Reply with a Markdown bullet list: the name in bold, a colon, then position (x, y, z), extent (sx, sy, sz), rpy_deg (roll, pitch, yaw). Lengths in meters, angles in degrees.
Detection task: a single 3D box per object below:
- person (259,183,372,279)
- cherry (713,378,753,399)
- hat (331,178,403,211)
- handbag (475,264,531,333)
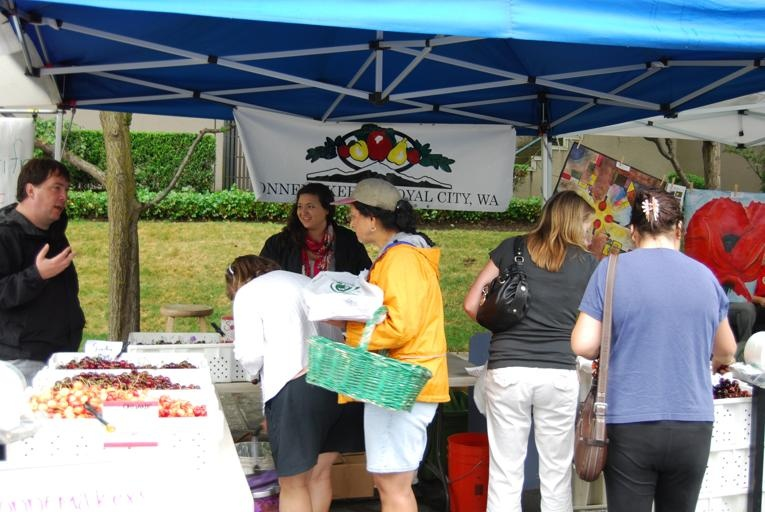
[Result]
- **person**: position (-0.540, -0.204, 6.828), extent (1.021, 0.897, 0.332), rpy_deg (-2, 11, -4)
- **cherry**: position (2.312, 0.883, 5.497), extent (0.162, 0.058, 0.166), rpy_deg (0, 4, 16)
- **hat**: position (-0.041, -0.385, 5.364), extent (0.326, 0.186, 0.231), rpy_deg (0, 4, -1)
- **handbag**: position (0.783, 0.277, 5.507), extent (0.373, 0.472, 0.205), rpy_deg (3, 3, 21)
